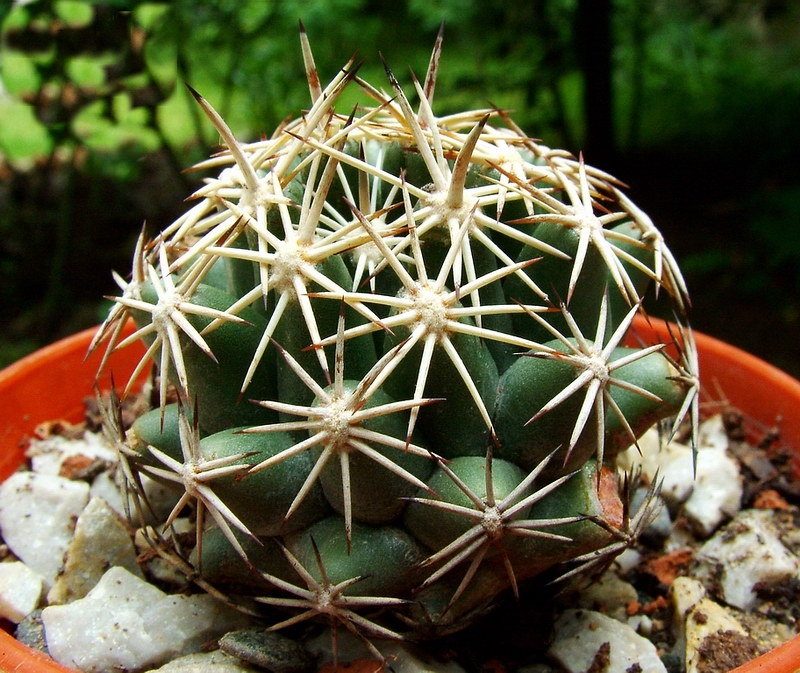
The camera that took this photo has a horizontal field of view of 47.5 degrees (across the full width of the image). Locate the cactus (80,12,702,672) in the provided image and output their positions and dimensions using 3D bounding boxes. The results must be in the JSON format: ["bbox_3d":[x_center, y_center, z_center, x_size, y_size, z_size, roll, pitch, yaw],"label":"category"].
[{"bbox_3d":[-0.008,-0.005,1.870,1.281,1.061,0.934,-22,45,-10],"label":"cactus"}]
